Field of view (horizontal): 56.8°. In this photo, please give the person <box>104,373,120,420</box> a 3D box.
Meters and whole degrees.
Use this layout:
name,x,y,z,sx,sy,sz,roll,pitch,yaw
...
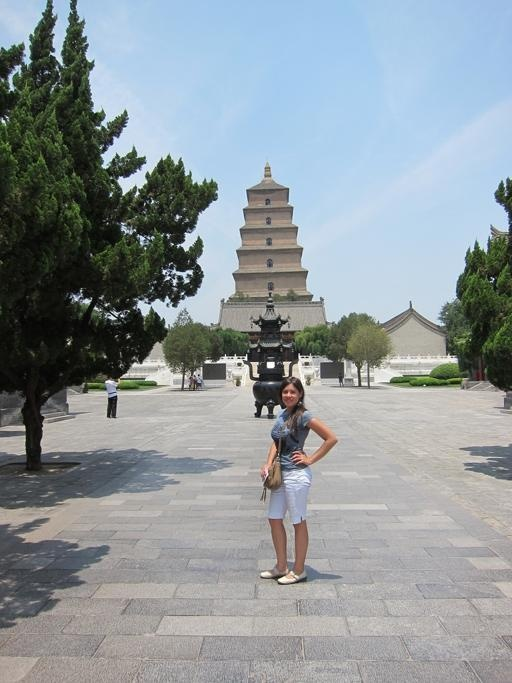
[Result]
name,x,y,z,sx,sy,sz,roll,pitch,yaw
person,-5.542,2.211,18.127,0.399,1.443,1.799,1,-6,-17

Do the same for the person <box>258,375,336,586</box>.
name,x,y,z,sx,sy,sz,roll,pitch,yaw
person,0.287,0.959,3.368,0.527,1.407,0.355,-1,-6,1

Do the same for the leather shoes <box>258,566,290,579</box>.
name,x,y,z,sx,sy,sz,roll,pitch,yaw
leather shoes,0.126,1.622,3.350,0.208,0.091,0.079,2,-12,3

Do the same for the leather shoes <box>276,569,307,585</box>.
name,x,y,z,sx,sy,sz,roll,pitch,yaw
leather shoes,0.243,1.613,3.260,0.205,0.087,0.079,4,-16,-19
